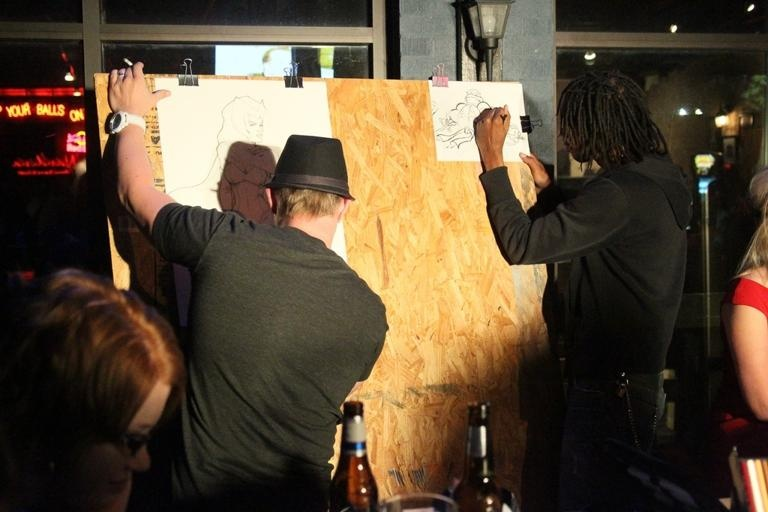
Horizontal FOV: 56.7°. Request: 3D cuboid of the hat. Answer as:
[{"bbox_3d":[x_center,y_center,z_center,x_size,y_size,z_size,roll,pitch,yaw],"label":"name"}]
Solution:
[{"bbox_3d":[-0.391,-0.474,3.804,0.476,0.324,0.591,15,6,11],"label":"hat"}]
